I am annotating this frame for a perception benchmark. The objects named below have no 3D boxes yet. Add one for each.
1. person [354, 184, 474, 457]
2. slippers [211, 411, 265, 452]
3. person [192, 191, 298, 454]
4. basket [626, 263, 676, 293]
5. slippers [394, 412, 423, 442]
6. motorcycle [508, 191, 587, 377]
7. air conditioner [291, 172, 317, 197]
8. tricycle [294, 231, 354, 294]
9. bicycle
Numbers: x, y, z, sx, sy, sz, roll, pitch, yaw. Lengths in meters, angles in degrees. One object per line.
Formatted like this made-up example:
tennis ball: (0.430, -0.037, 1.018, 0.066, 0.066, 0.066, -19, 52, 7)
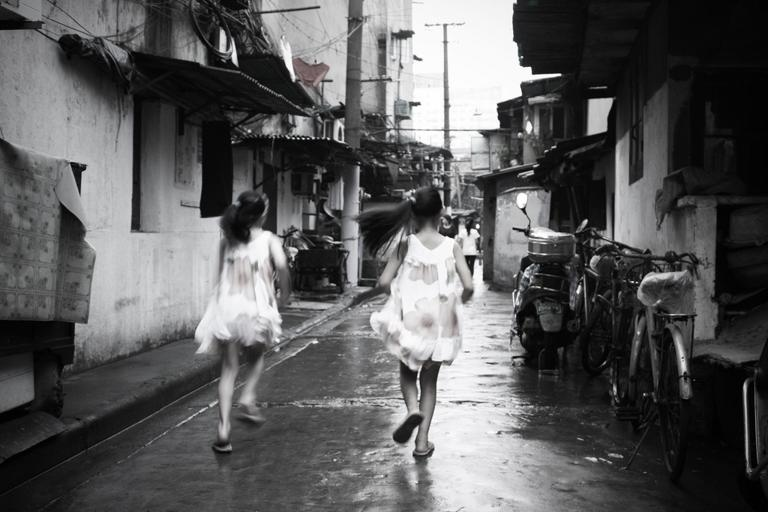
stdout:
person: (0.304, 0.597, 7.179, 0.952, 2.508, 0.836, -3, 6, -32)
slippers: (-1.440, 1.737, 7.326, 0.471, 0.306, 0.377, 0, 1, 3)
person: (-1.485, 0.631, 7.646, 0.848, 2.478, 1.099, 0, 0, 43)
basket: (2.877, 0.237, 8.215, 0.280, 0.182, 0.396, 2, -1, -14)
slippers: (0.220, 1.566, 6.869, 0.174, 0.381, 0.174, 37, 12, -5)
motorcycle: (2.269, 0.539, 10.630, 1.087, 1.996, 2.900, 0, 1, 7)
air conditioner: (-2.389, -2.142, 22.117, 0.565, 0.559, 0.749, 0, -1, 16)
tricycle: (-1.857, 0.324, 21.139, 1.449, 1.339, 2.373, 0, 6, -13)
bicycle: (2.621, 0.794, 7.729, 0.877, 1.299, 2.529, 3, 8, 0)
